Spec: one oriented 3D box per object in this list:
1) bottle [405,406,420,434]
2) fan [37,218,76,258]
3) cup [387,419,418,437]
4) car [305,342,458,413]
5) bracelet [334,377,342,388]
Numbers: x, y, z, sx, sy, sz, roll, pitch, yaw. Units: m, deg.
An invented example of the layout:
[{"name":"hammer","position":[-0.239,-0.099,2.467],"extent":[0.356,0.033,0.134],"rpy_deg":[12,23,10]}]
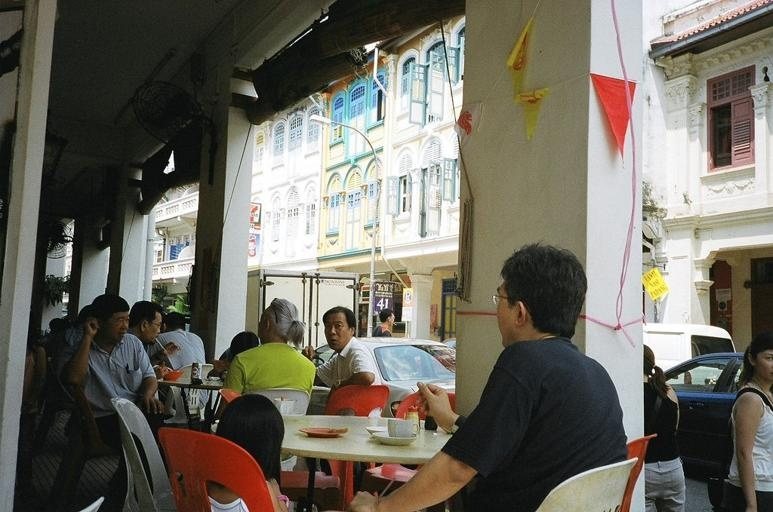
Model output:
[{"name":"bottle","position":[0.230,1.310,5.623],"extent":[0.115,0.219,0.207],"rpy_deg":[-5,-14,19]},{"name":"fan","position":[-9.250,-0.621,19.541],"extent":[0.781,1.416,3.626],"rpy_deg":[2,-7,-25]},{"name":"cup","position":[0.123,1.343,5.453],"extent":[0.173,0.111,0.143],"rpy_deg":[0,-18,10]},{"name":"car","position":[0.105,1.627,9.825],"extent":[0.952,0.718,2.045],"rpy_deg":[2,-4,-37]},{"name":"bracelet","position":[-0.526,1.435,7.902],"extent":[0.064,0.077,0.087],"rpy_deg":[1,5,9]}]
